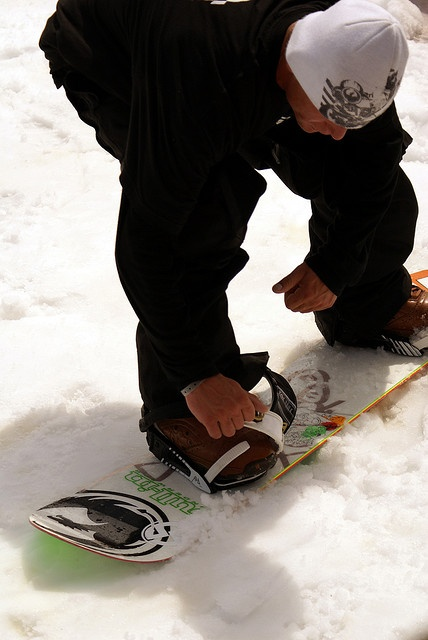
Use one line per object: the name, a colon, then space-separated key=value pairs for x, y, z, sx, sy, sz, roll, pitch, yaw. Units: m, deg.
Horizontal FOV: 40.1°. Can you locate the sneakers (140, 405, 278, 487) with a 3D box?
sneakers: x=-0.016 y=0.333 z=1.559 sx=0.323 sy=0.135 sz=0.193 roll=25 pitch=49 yaw=25

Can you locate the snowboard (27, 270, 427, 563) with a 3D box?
snowboard: x=0.324 y=0.281 z=1.865 sx=1.736 sy=0.245 sz=0.401 roll=-31 pitch=36 yaw=-33
